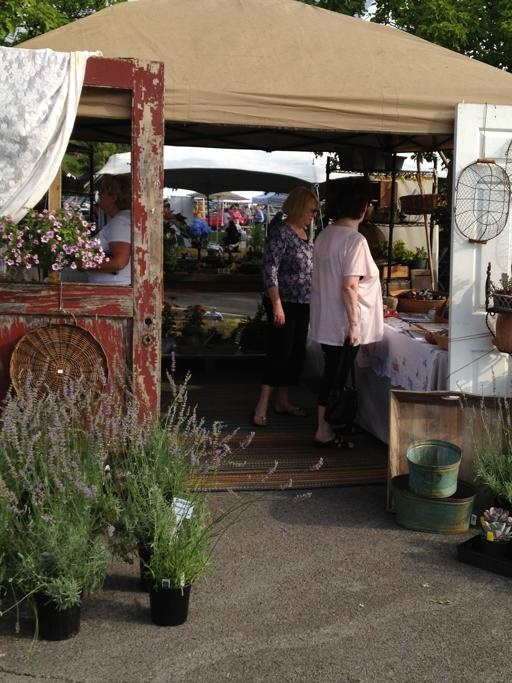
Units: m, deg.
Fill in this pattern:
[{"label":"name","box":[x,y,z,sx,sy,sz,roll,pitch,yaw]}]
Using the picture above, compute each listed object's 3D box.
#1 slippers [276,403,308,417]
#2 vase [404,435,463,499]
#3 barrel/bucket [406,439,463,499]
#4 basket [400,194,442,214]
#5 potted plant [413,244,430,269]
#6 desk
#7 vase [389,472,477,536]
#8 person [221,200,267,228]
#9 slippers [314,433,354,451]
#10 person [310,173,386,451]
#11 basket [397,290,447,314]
[{"label":"slippers","box":[0.314,0.641,5.793,0.290,0.105,0.101,4,21,16]},{"label":"vase","box":[0.970,0.703,3.509,0.294,0.221,0.315,-2,17,3]},{"label":"barrel/bucket","box":[0.965,0.692,3.515,0.281,0.230,0.325,-2,8,8]},{"label":"basket","box":[1.855,-1.565,7.287,0.339,0.223,0.571,1,7,-12]},{"label":"potted plant","box":[2.003,-1.007,7.877,0.176,0.243,0.463,4,7,11]},{"label":"desk","box":[1.026,0.268,4.485,0.330,0.599,1.074,2,3,-9]},{"label":"vase","box":[0.958,0.898,3.513,0.404,0.170,0.240,1,8,20]},{"label":"person","box":[-0.250,-2.428,12.288,0.774,0.464,1.053,5,30,6]},{"label":"slippers","box":[0.595,0.773,4.884,0.273,0.082,0.129,1,9,-4]},{"label":"person","box":[0.645,-0.155,4.608,0.535,1.950,0.623,3,7,4]},{"label":"basket","box":[1.444,-0.334,5.657,0.411,0.198,0.622,4,8,12]}]
